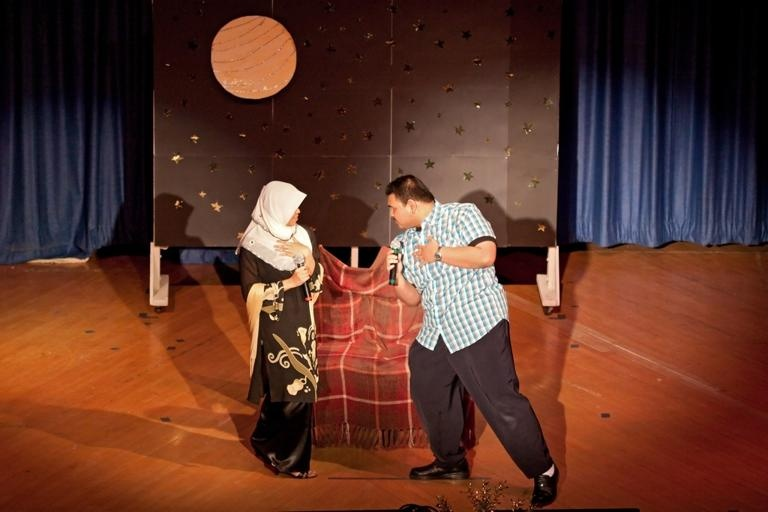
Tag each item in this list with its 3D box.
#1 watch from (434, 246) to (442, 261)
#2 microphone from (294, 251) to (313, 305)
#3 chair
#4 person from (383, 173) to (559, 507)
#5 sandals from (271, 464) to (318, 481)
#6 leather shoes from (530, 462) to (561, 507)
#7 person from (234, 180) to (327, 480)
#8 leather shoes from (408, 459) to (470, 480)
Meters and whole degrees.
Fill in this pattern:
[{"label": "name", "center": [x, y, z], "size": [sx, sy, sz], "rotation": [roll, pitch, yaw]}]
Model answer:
[{"label": "watch", "center": [0.338, -0.006, 3.502], "size": [0.048, 0.080, 0.070], "rotation": [5, 16, 11]}, {"label": "microphone", "center": [-0.530, 0.149, 3.770], "size": [0.087, 0.326, 0.091], "rotation": [-7, 6, -2]}, {"label": "chair", "center": [0.080, 0.862, 4.514], "size": [1.255, 1.190, 1.343], "rotation": [1, 39, 0]}, {"label": "person", "center": [0.534, 0.512, 3.629], "size": [1.068, 2.034, 0.280], "rotation": [2, 8, 21]}, {"label": "sandals", "center": [-0.601, 1.432, 3.827], "size": [0.290, 0.129, 0.105], "rotation": [0, 0, 6]}, {"label": "leather shoes", "center": [1.018, 1.429, 3.567], "size": [0.116, 0.311, 0.126], "rotation": [-9, -43, 39]}, {"label": "person", "center": [-0.689, 0.481, 3.800], "size": [0.549, 1.934, 0.376], "rotation": [-1, 7, -6]}, {"label": "leather shoes", "center": [0.371, 1.425, 3.836], "size": [0.405, 0.179, 0.155], "rotation": [3, -2, 1]}]
